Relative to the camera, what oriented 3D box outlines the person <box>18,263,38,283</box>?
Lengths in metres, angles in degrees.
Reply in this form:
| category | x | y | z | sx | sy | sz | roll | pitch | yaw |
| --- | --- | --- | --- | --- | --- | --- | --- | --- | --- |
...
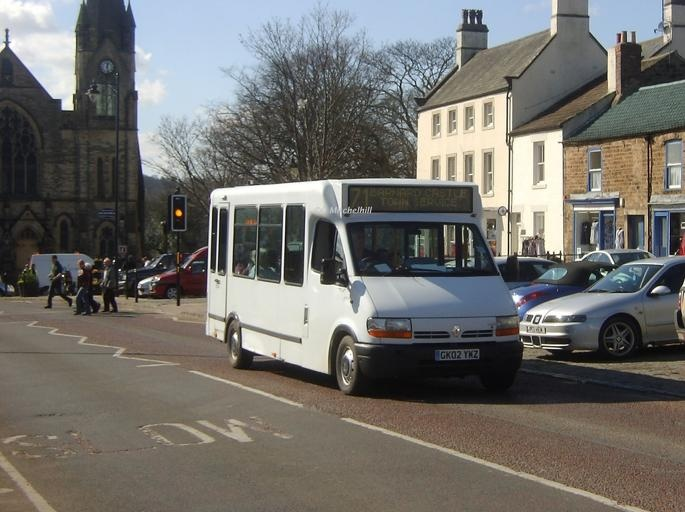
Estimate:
| category | x | y | z | sx | sy | sz | roll | pitch | yaw |
| --- | --- | --- | --- | --- | --- | --- | --- | --- | --- |
| person | -16.919 | 0.922 | 46.858 | 1.104 | 0.799 | 1.505 | 11 | 2 | -23 |

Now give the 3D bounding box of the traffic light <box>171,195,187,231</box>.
| category | x | y | z | sx | sy | sz | roll | pitch | yaw |
| --- | --- | --- | --- | --- | --- | --- | --- | --- | --- |
| traffic light | -5.628 | -1.503 | 29.712 | 0.513 | 1.282 | 0.989 | -1 | 2 | -14 |

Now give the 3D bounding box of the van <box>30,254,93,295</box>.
| category | x | y | z | sx | sy | sz | roll | pitch | yaw |
| --- | --- | --- | --- | --- | --- | --- | --- | --- | --- |
| van | -13.278 | 0.889 | 40.743 | 3.372 | 2.097 | 1.883 | -4 | 2 | -21 |

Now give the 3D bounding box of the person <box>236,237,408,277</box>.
| category | x | y | z | sx | sy | sz | roll | pitch | yaw |
| --- | --- | --- | --- | --- | --- | --- | --- | --- | --- |
| person | 0.088 | -0.019 | 13.371 | 1.982 | 0.599 | 0.804 | 0 | 2 | 31 |
